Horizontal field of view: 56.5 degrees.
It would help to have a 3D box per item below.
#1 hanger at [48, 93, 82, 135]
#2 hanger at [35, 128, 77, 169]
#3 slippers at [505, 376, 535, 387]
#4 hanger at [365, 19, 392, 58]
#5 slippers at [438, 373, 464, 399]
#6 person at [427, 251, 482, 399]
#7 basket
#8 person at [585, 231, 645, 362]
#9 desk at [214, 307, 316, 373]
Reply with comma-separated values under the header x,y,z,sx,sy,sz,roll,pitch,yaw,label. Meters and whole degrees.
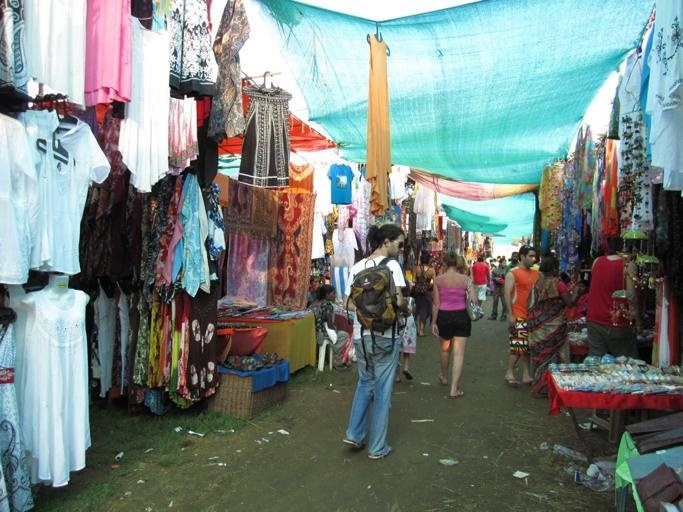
x,y,z,sx,sy,sz,roll,pitch,yaw,label
-2.380,-1.236,5.446,0.251,0.313,0.434,-1,6,-12,hanger
-2.396,-0.926,5.318,0.073,0.315,0.354,2,6,20,hanger
2.402,1.671,8.500,0.400,0.187,0.153,-1,-1,4,slippers
0.436,-2.653,7.769,0.295,0.297,0.618,1,6,9,hanger
1.405,1.683,8.195,0.251,0.341,0.792,0,1,17,slippers
1.506,0.853,8.411,0.571,1.876,1.332,1,6,11,person
-1.098,1.404,7.165,0.479,0.384,0.711,2,1,22,basket
3.027,0.480,6.955,0.449,1.351,0.709,0,5,-4,person
-0.844,1.037,8.699,1.039,0.613,0.920,3,3,12,desk
